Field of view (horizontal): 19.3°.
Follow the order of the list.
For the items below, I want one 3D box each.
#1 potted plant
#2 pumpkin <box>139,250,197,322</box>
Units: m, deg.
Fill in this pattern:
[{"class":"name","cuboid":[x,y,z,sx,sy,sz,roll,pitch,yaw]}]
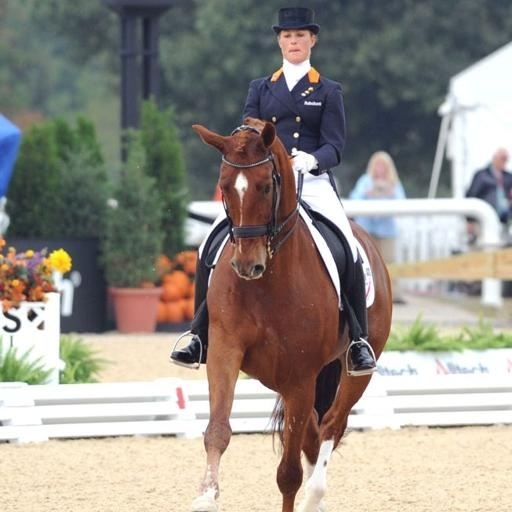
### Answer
[{"class":"potted plant","cuboid":[-1.608,-0.286,19.604,0.597,2.577,0.763,3,5,35]},{"class":"pumpkin","cuboid":[-1.136,0.381,20.295,0.581,1.294,0.527,13,20,39]}]
